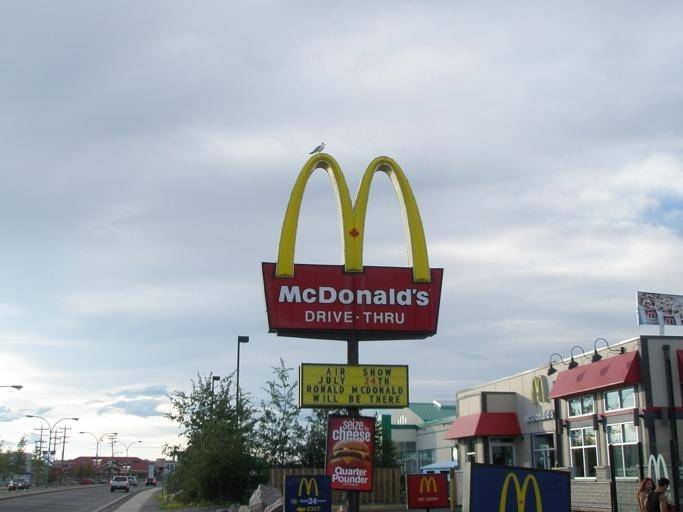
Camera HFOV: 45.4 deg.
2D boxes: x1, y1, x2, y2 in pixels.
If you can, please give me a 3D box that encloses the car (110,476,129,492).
[{"bbox_3d":[-22.355,23.329,82.701,1.507,1.494,2.987,1,-6,-5],"label":"car"}]
